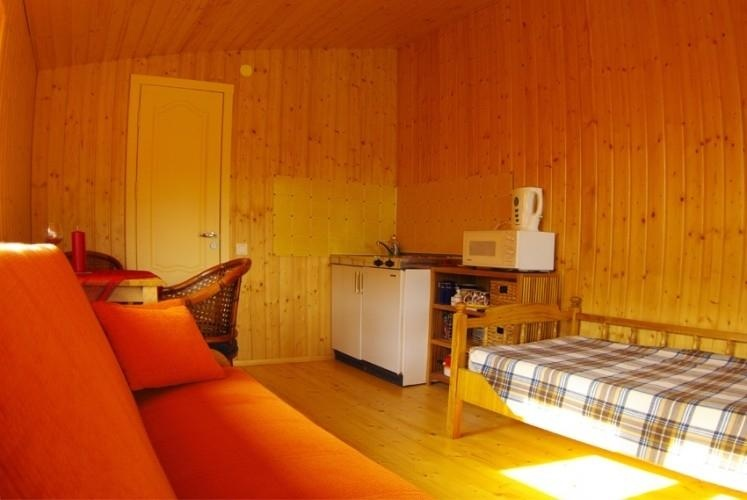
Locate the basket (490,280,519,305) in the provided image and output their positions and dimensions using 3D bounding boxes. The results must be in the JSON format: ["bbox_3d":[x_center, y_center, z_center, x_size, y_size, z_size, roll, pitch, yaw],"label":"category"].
[{"bbox_3d":[1.018,0.335,4.299,0.158,0.185,0.261,0,-1,-22],"label":"basket"}]

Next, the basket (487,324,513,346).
[{"bbox_3d":[0.985,0.661,4.251,0.152,0.097,0.150,-1,2,-30],"label":"basket"}]

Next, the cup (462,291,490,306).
[{"bbox_3d":[0.823,0.389,4.419,0.166,0.117,0.101,4,1,-28],"label":"cup"}]

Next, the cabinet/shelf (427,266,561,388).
[{"bbox_3d":[0.898,0.552,4.020,0.368,1.036,1.003,3,-4,-35],"label":"cabinet/shelf"}]

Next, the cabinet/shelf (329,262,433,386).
[{"bbox_3d":[0.049,0.652,5.323,0.414,1.015,1.162,1,2,-36],"label":"cabinet/shelf"}]

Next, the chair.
[{"bbox_3d":[-1.154,0.469,3.709,0.596,0.725,0.596,-4,-2,32],"label":"chair"}]

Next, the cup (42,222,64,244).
[{"bbox_3d":[-1.857,-0.080,3.188,0.074,0.138,0.248,-5,15,-30],"label":"cup"}]

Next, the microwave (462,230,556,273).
[{"bbox_3d":[1.123,0.001,4.343,0.353,0.265,0.521,2,1,-33],"label":"microwave"}]

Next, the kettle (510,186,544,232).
[{"bbox_3d":[1.254,-0.338,4.435,0.268,0.355,0.365,-2,10,-17],"label":"kettle"}]
